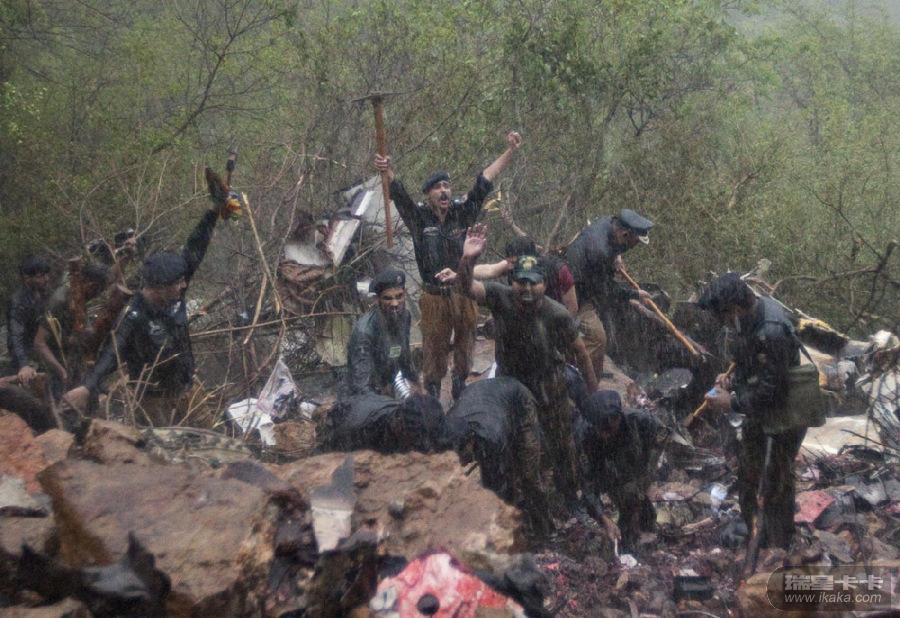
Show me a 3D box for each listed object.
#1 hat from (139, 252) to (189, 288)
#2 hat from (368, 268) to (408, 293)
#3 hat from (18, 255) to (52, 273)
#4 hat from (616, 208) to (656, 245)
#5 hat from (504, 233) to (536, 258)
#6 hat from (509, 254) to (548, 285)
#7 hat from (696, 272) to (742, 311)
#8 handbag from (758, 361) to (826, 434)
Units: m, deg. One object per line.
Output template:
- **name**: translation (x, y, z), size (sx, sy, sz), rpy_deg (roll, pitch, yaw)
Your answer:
- **hat**: translation (-4.426, -0.728, 17.806), size (0.539, 0.567, 0.513), rpy_deg (-10, 44, -19)
- **hat**: translation (-1.020, -0.463, 18.562), size (0.388, 0.205, 0.514), rpy_deg (-16, 3, -6)
- **hat**: translation (-6.786, -0.727, 18.880), size (0.331, 0.377, 0.313), rpy_deg (7, 5, 11)
- **hat**: translation (3.015, -1.350, 18.884), size (0.661, 0.259, 0.534), rpy_deg (42, 42, -9)
- **hat**: translation (1.154, -1.068, 19.248), size (0.449, 0.508, 0.377), rpy_deg (-6, 20, -6)
- **hat**: translation (1.166, -0.591, 17.486), size (0.401, 0.392, 0.651), rpy_deg (2, 0, 4)
- **hat**: translation (4.080, -0.267, 17.274), size (0.752, 0.601, 0.310), rpy_deg (9, 2, 13)
- **handbag**: translation (5.129, 1.335, 17.556), size (0.877, 1.119, 0.734), rpy_deg (-9, 0, 12)
